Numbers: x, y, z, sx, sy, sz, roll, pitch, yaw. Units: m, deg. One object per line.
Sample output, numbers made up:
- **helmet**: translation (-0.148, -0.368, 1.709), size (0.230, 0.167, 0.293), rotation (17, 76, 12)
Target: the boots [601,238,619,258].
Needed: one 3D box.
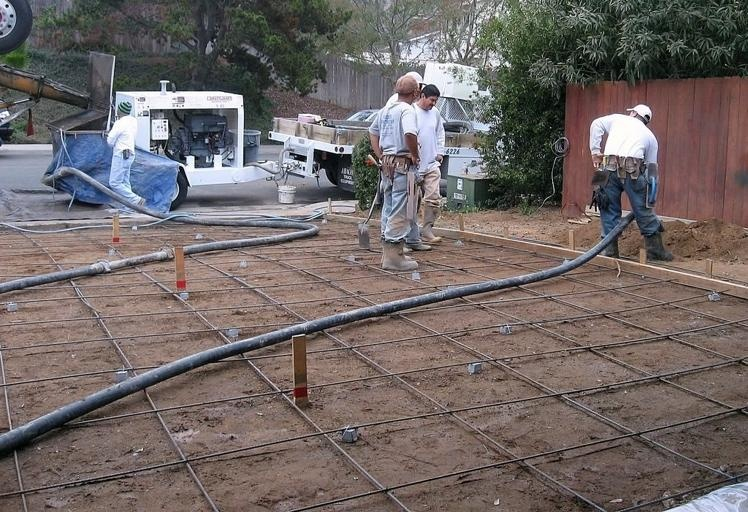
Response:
- **boots**: translation (2.414, -0.076, 6.151), size (0.173, 0.112, 0.109), rotation (-36, 22, -27)

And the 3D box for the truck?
- **truck**: translation (0.547, -2.603, 12.216), size (4.586, 2.198, 2.706), rotation (-9, 17, -26)

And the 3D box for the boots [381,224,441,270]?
- **boots**: translation (0.356, 0.010, 6.052), size (0.460, 0.301, 0.187), rotation (-7, 15, -23)

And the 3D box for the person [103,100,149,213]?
- **person**: translation (-3.838, -1.523, 9.361), size (0.495, 1.758, 1.493), rotation (-1, 10, -21)

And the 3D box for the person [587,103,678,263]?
- **person**: translation (2.643, -0.749, 6.205), size (0.896, 1.562, 0.409), rotation (6, 10, 25)

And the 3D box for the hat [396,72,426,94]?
- **hat**: translation (0.367, -1.720, 6.068), size (0.262, 0.134, 0.358), rotation (4, 27, 19)

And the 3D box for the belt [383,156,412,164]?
- **belt**: translation (0.241, -0.940, 6.006), size (0.321, 0.114, 0.107), rotation (3, 9, 5)

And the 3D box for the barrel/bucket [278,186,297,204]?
- **barrel/bucket**: translation (-1.630, -1.130, 11.441), size (0.372, 0.296, 0.357), rotation (2, 6, 0)
